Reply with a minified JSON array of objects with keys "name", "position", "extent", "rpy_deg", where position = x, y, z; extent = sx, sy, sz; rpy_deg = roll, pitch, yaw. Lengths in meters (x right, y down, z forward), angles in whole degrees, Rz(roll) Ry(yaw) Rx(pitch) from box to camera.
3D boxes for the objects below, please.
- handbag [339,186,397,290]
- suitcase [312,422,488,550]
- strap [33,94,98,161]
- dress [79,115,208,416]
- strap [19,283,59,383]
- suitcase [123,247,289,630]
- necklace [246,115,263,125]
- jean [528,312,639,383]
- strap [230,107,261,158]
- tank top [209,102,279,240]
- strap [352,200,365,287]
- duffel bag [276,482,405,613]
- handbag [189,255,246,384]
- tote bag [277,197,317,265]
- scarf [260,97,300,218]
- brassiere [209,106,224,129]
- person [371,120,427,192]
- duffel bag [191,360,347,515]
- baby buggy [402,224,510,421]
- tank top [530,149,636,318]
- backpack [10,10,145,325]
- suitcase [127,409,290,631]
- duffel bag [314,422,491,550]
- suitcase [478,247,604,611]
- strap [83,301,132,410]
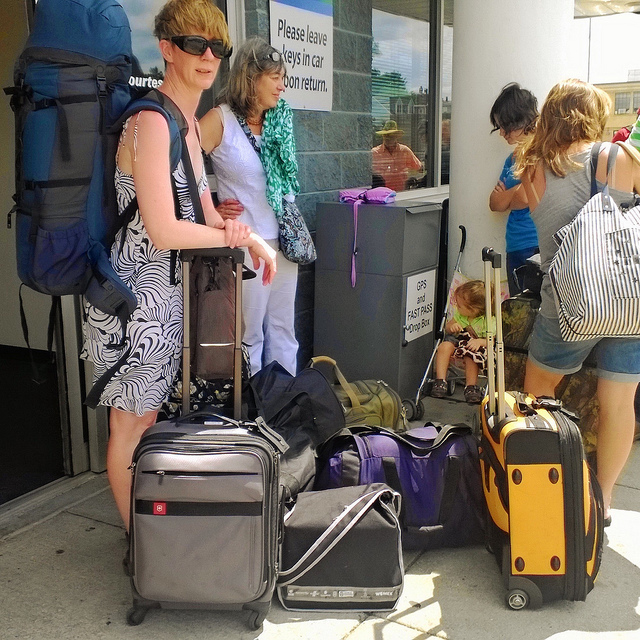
[{"name":"handbag","position":[0.302,-0.491,4.048],"extent":[0.426,0.792,0.233],"rpy_deg":[9,13,40]},{"name":"suitcase","position":[0.356,0.664,2.710],"extent":[0.670,0.542,0.351],"rpy_deg":[-5,7,-5]},{"name":"strap","position":[-0.727,-0.560,1.899],"extent":[0.171,0.190,0.066],"rpy_deg":[-5,12,-24]},{"name":"dress","position":[-0.567,-0.146,2.138],"extent":[0.373,0.917,0.418],"rpy_deg":[1,22,-19]},{"name":"strap","position":[-1.691,0.078,3.968],"extent":[0.163,0.673,0.252],"rpy_deg":[3,15,-2]},{"name":"suitcase","position":[-0.355,0.377,2.116],"extent":[0.432,1.219,0.356],"rpy_deg":[1,5,-5]},{"name":"necklace","position":[-0.336,-1.020,3.332],"extent":[0.052,0.027,0.066],"rpy_deg":[-1,-4,-5]},{"name":"jean","position":[1.066,0.124,2.706],"extent":[0.309,0.270,0.387],"rpy_deg":[5,17,11]},{"name":"strap","position":[-0.378,-0.942,3.295],"extent":[0.025,0.268,0.032],"rpy_deg":[-29,23,-34]},{"name":"tank top","position":[-0.379,-0.736,3.547],"extent":[0.387,0.767,0.445],"rpy_deg":[-1,19,-20]},{"name":"strap","position":[0.240,-0.479,4.069],"extent":[0.061,0.515,0.063],"rpy_deg":[2,2,41]},{"name":"duffel bag","position":[0.076,0.705,2.283],"extent":[0.406,0.494,0.382],"rpy_deg":[0,-11,1]},{"name":"handbag","position":[-0.353,-0.005,2.170],"extent":[0.171,0.407,0.225],"rpy_deg":[-3,19,-17]},{"name":"tote bag","position":[-0.118,-0.481,3.528],"extent":[0.166,0.339,0.194],"rpy_deg":[12,19,24]},{"name":"scarf","position":[-0.189,-0.846,3.391],"extent":[0.146,0.584,0.166],"rpy_deg":[10,19,32]},{"name":"brassiere","position":[-0.495,-1.020,3.246],"extent":[0.048,0.096,0.090],"rpy_deg":[0,21,3]},{"name":"person","position":[0.673,-1.458,5.797],"extent":[0.195,0.611,1.069],"rpy_deg":[4,12,20]},{"name":"duffel bag","position":[-0.109,0.425,2.814],"extent":[0.553,0.478,0.572],"rpy_deg":[8,18,-19]},{"name":"baby buggy","position":[0.943,0.067,4.280],"extent":[0.522,1.316,0.714],"rpy_deg":[13,17,27]},{"name":"tank top","position":[1.035,-0.372,2.683],"extent":[0.358,0.582,0.311],"rpy_deg":[7,16,9]},{"name":"backpack","position":[-0.729,-0.444,1.987],"extent":[0.363,0.942,0.194],"rpy_deg":[-3,11,-19]},{"name":"suitcase","position":[-0.337,0.591,2.234],"extent":[0.565,0.913,0.500],"rpy_deg":[1,-5,-2]},{"name":"duffel bag","position":[0.454,0.692,2.736],"extent":[0.670,0.550,0.353],"rpy_deg":[-9,-6,28]},{"name":"suitcase","position":[0.797,0.360,2.361],"extent":[0.355,1.213,0.484],"rpy_deg":[-3,6,14]},{"name":"strap","position":[-0.682,0.148,2.126],"extent":[0.103,0.341,0.191],"rpy_deg":[18,-20,-14]}]
